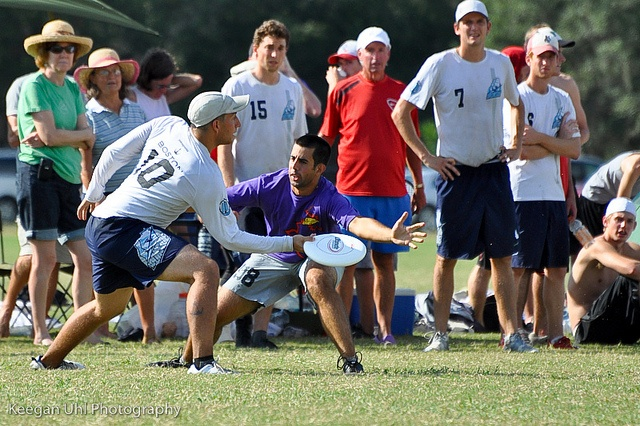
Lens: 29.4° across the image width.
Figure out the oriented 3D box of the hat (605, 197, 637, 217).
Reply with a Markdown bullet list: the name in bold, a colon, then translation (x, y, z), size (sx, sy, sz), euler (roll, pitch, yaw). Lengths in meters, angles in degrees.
- **hat**: translation (3.463, -0.078, 14.110), size (0.340, 0.225, 0.280), euler (1, -4, 15)

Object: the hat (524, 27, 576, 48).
- **hat**: translation (2.691, -2.100, 14.328), size (0.532, 0.294, 0.347), euler (-7, 3, 10)

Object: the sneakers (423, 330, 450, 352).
- **sneakers**: translation (1.324, 1.448, 13.684), size (0.130, 0.168, 0.390), euler (-4, -12, 31)

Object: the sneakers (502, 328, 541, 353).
- **sneakers**: translation (2.208, 1.420, 13.483), size (0.381, 0.226, 0.174), euler (1, -4, 12)

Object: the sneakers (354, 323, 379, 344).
- **sneakers**: translation (0.533, 1.414, 14.452), size (0.349, 0.158, 0.122), euler (5, -5, 4)

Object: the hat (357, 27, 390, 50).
- **hat**: translation (0.633, -2.048, 14.255), size (0.369, 0.330, 0.466), euler (2, -4, -2)

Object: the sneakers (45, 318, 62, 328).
- **sneakers**: translation (-3.250, 1.338, 14.825), size (0.216, 0.112, 0.354), euler (2, 1, -18)

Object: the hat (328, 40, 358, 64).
- **hat**: translation (0.328, -2.048, 15.465), size (0.350, 0.210, 0.243), euler (-11, 5, -44)

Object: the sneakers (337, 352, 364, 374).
- **sneakers**: translation (0.308, 1.509, 12.398), size (0.131, 0.263, 0.357), euler (-1, 3, -28)

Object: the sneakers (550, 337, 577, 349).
- **sneakers**: translation (2.744, 1.466, 13.840), size (0.239, 0.108, 0.127), euler (1, -1, 9)

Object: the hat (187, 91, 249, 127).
- **hat**: translation (-0.987, -1.028, 12.376), size (0.608, 0.223, 0.373), euler (-19, -10, -9)

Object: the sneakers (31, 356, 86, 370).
- **sneakers**: translation (-2.665, 1.532, 12.436), size (0.546, 0.240, 0.199), euler (2, 1, -14)

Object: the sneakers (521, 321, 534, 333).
- **sneakers**: translation (2.489, 1.367, 14.653), size (0.123, 0.151, 0.164), euler (5, -26, 11)
